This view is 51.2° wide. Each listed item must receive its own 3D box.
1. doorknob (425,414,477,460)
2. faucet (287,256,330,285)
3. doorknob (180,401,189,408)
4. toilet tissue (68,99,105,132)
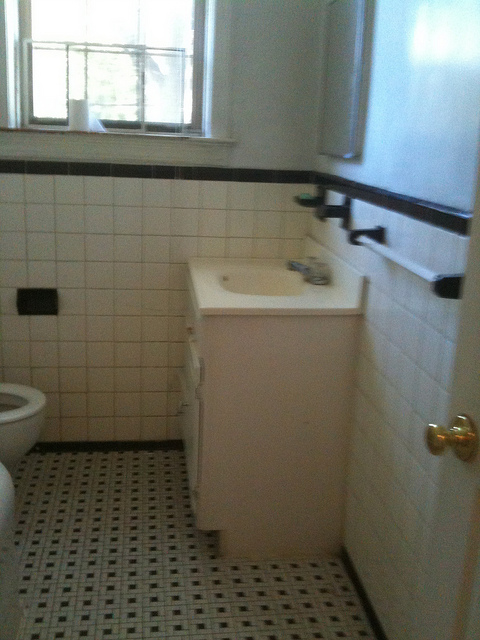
[{"bbox_3d":[0.201,0.112,0.486,0.033,0.040,0.043,1,15,6],"label":"doorknob"},{"bbox_3d":[0.270,-0.190,1.903,0.097,0.041,0.127,-27,25,-14],"label":"faucet"},{"bbox_3d":[-0.233,0.352,2.067,0.031,0.017,0.034,2,8,-5],"label":"doorknob"},{"bbox_3d":[-0.678,-0.843,2.095,0.182,0.123,0.126,8,12,25],"label":"toilet tissue"}]
